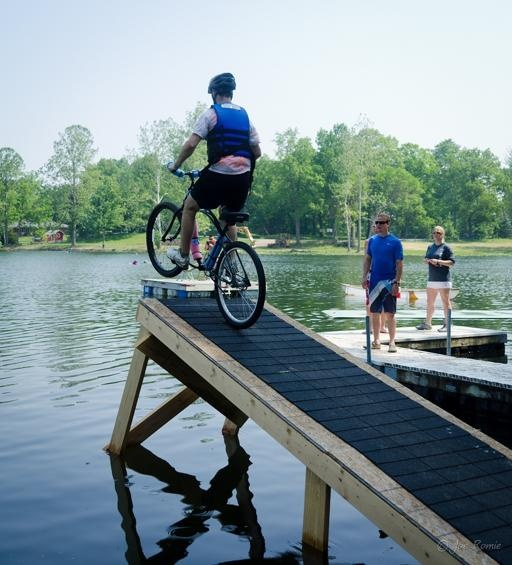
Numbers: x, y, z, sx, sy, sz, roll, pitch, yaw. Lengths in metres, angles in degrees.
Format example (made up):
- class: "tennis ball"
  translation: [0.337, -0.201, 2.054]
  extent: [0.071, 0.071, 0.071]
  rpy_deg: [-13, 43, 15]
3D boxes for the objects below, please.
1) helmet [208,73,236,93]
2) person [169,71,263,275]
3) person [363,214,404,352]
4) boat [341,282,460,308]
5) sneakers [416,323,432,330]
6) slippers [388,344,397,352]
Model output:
- class: "helmet"
  translation: [-0.367, -2.069, 6.607]
  extent: [0.288, 0.199, 0.201]
  rpy_deg: [2, 6, 8]
- class: "person"
  translation: [-0.468, -1.012, 6.689]
  extent: [0.917, 1.746, 0.799]
  rpy_deg: [2, 7, 4]
- class: "person"
  translation: [2.030, 0.004, 10.151]
  extent: [0.620, 2.216, 1.227]
  rpy_deg: [2, 7, 10]
- class: "boat"
  translation: [5.960, 0.496, 23.080]
  extent: [5.699, 0.669, 1.373]
  rpy_deg: [2, 2, 14]
- class: "sneakers"
  translation: [3.266, 0.851, 12.196]
  extent: [0.342, 0.124, 0.114]
  rpy_deg: [0, 2, 13]
- class: "slippers"
  translation: [2.148, 1.022, 9.955]
  extent: [0.115, 0.108, 0.271]
  rpy_deg: [-1, -7, 9]
